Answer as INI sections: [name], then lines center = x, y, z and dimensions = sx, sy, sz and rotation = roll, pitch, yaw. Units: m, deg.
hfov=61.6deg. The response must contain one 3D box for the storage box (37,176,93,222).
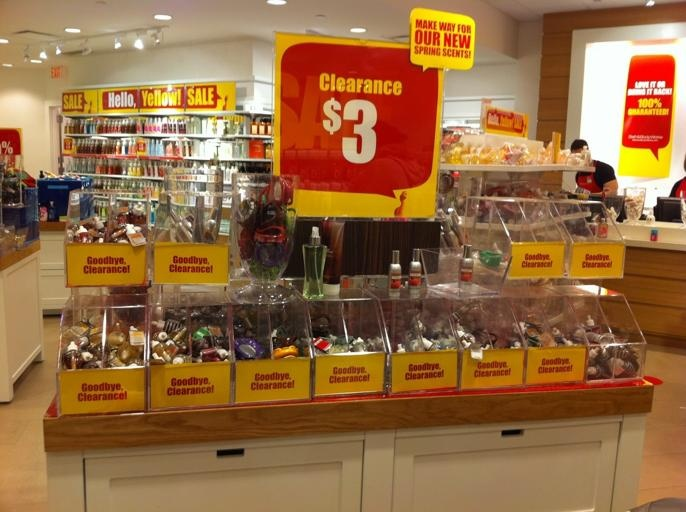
[storage box]
center = -2.387, -0.463, 4.786
dimensions = 0.448, 0.450, 0.455
rotation = 1, 9, -2

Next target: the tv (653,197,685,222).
[tv]
center = 3.445, -0.479, 6.079
dimensions = 0.252, 0.248, 0.323
rotation = 4, 8, 25

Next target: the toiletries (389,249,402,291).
[toiletries]
center = 0.235, 0.073, 2.633
dimensions = 0.065, 0.189, 0.067
rotation = 1, 1, 9

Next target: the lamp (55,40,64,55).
[lamp]
center = -4.851, -3.509, 9.724
dimensions = 0.142, 0.149, 0.262
rotation = -2, -5, -18
